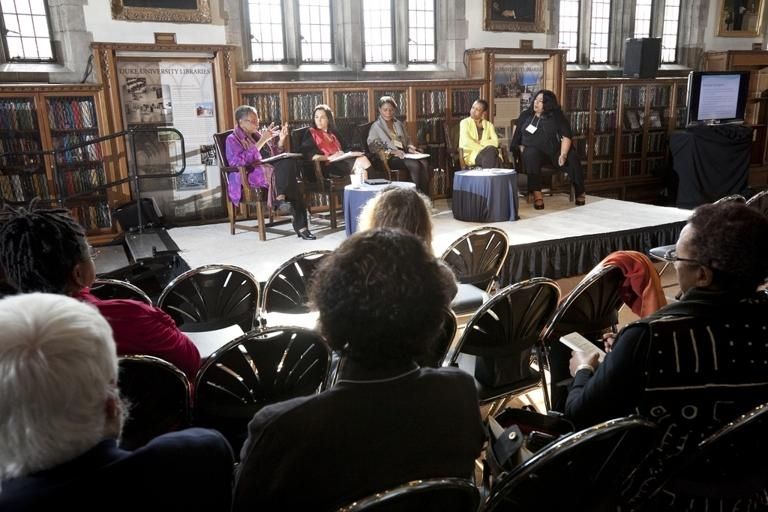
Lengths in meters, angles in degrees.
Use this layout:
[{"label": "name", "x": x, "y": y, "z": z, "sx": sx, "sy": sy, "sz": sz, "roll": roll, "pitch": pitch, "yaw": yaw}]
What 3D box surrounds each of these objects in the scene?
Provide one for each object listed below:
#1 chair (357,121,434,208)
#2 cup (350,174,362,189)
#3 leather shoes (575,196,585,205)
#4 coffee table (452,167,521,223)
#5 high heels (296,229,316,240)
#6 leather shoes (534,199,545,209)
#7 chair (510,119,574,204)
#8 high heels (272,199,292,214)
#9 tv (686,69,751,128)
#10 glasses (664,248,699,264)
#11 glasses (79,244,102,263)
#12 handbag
[{"label": "chair", "x": 0.123, "y": -1.340, "z": 6.901, "sx": 0.768, "sy": 1.283, "sz": 1.024, "roll": -10, "pitch": 17, "yaw": -35}, {"label": "cup", "x": -0.286, "y": -0.794, "z": 5.486, "sx": 0.126, "sy": 0.150, "sz": 0.159, "roll": 0, "pitch": 9, "yaw": -1}, {"label": "leather shoes", "x": 2.663, "y": -0.749, "z": 7.030, "sx": 0.089, "sy": 0.127, "sz": 0.127, "roll": 4, "pitch": 8, "yaw": 36}, {"label": "coffee table", "x": 1.192, "y": -0.780, "z": 6.128, "sx": 0.653, "sy": 0.445, "sz": 0.675, "roll": 4, "pitch": 13, "yaw": 21}, {"label": "high heels", "x": -0.875, "y": -0.241, "z": 5.802, "sx": 0.101, "sy": 0.098, "sz": 0.235, "roll": -9, "pitch": 15, "yaw": -40}, {"label": "leather shoes", "x": 2.045, "y": -0.696, "z": 6.808, "sx": 0.135, "sy": 0.122, "sz": 0.178, "roll": 1, "pitch": 15, "yaw": 16}, {"label": "chair", "x": 2.281, "y": -1.473, "z": 7.249, "sx": 0.760, "sy": 1.386, "sz": 1.054, "roll": -5, "pitch": 14, "yaw": -5}, {"label": "high heels", "x": -1.127, "y": -0.560, "z": 5.757, "sx": 0.194, "sy": 0.156, "sz": 0.086, "roll": -6, "pitch": 14, "yaw": -8}, {"label": "tv", "x": 5.576, "y": -2.636, "z": 8.647, "sx": 1.209, "sy": 0.884, "sz": 0.144, "roll": -8, "pitch": 10, "yaw": -25}, {"label": "glasses", "x": 1.219, "y": -0.002, "z": 2.122, "sx": 0.096, "sy": 0.031, "sz": 0.100, "roll": 2, "pitch": 17, "yaw": -29}, {"label": "glasses", "x": -1.802, "y": -0.011, "z": 3.185, "sx": 0.139, "sy": 0.048, "sz": 0.143, "roll": -23, "pitch": -11, "yaw": 18}, {"label": "handbag", "x": 0.501, "y": 0.612, "z": 1.814, "sx": 0.320, "sy": 0.148, "sz": 0.233, "roll": -10, "pitch": 13, "yaw": -42}]
